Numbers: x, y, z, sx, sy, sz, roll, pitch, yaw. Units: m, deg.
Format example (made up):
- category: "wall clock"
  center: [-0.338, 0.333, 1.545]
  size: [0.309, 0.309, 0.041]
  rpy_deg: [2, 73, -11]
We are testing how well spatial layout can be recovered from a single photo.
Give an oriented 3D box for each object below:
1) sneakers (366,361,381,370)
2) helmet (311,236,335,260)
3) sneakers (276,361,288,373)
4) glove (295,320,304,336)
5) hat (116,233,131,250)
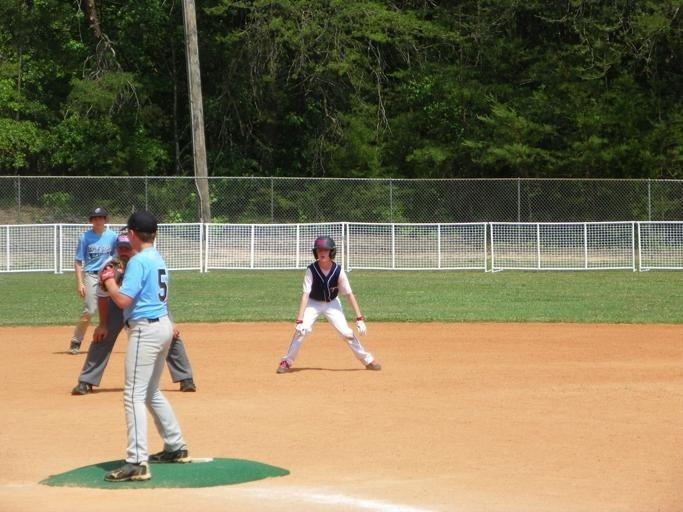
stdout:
- category: "sneakers"
  center: [0.735, 2.536, 29.444]
  size: [0.336, 0.236, 0.176]
  rpy_deg: [-3, 2, 5]
- category: "helmet"
  center: [-0.397, -0.209, 28.891]
  size: [0.484, 0.551, 0.609]
  rpy_deg: [0, 13, -3]
- category: "sneakers"
  center: [-1.357, 2.562, 29.240]
  size: [0.234, 0.285, 0.657]
  rpy_deg: [0, -4, 0]
- category: "glove"
  center: [-0.973, 1.600, 28.900]
  size: [0.211, 0.251, 0.280]
  rpy_deg: [-1, 4, 5]
- category: "hat"
  center: [-4.579, -0.362, 26.667]
  size: [0.325, 0.286, 0.498]
  rpy_deg: [2, -19, -18]
